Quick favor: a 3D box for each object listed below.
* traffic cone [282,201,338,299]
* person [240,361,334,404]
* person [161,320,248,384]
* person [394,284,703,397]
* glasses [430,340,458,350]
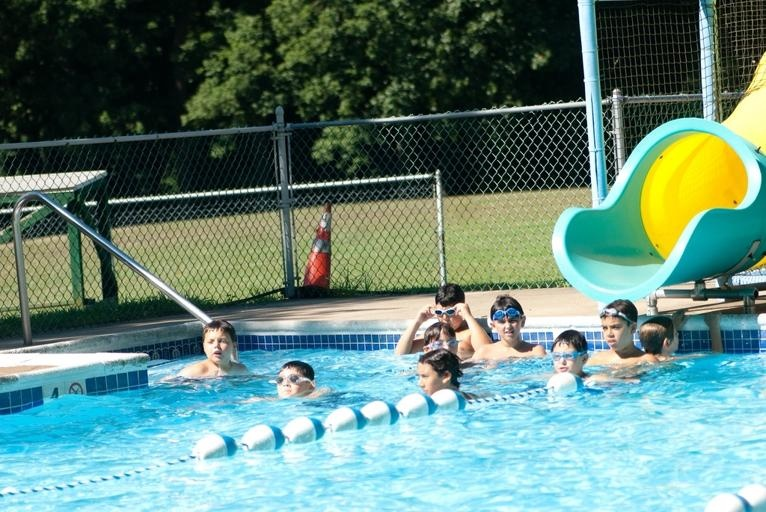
[{"bbox_3d":[-0.723,-0.088,11.496,0.880,1.010,0.850,9,-4,-42],"label":"traffic cone"},{"bbox_3d":[-0.789,1.069,8.172,0.768,0.323,0.306,-1,6,16],"label":"person"},{"bbox_3d":[-1.508,0.904,8.713,1.120,0.578,0.499,4,6,-6],"label":"person"},{"bbox_3d":[1.367,0.675,8.611,2.437,0.894,0.796,-5,3,24],"label":"person"},{"bbox_3d":[0.539,0.814,8.507,0.254,0.097,0.216,-6,3,3],"label":"glasses"}]
